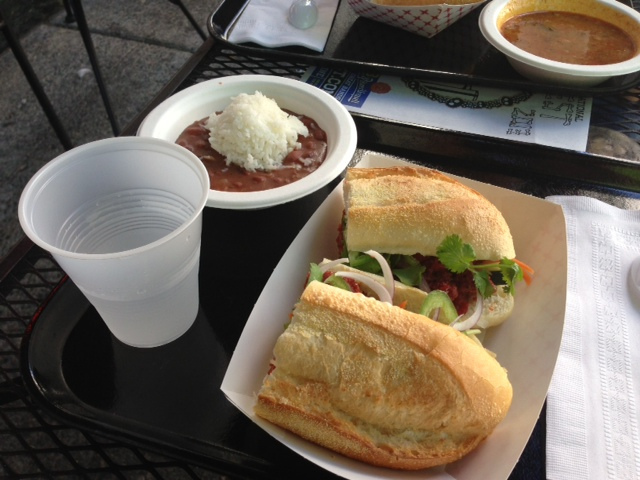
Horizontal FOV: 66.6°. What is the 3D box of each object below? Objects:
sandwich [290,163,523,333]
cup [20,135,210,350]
[{"bbox_3d":[0.247,-0.059,1.321,0.604,0.152,0.609,15,36,29],"label":"sandwich"},{"bbox_3d":[-0.442,0.002,1.154,0.378,0.358,0.387,2,57,-3],"label":"cup"}]
